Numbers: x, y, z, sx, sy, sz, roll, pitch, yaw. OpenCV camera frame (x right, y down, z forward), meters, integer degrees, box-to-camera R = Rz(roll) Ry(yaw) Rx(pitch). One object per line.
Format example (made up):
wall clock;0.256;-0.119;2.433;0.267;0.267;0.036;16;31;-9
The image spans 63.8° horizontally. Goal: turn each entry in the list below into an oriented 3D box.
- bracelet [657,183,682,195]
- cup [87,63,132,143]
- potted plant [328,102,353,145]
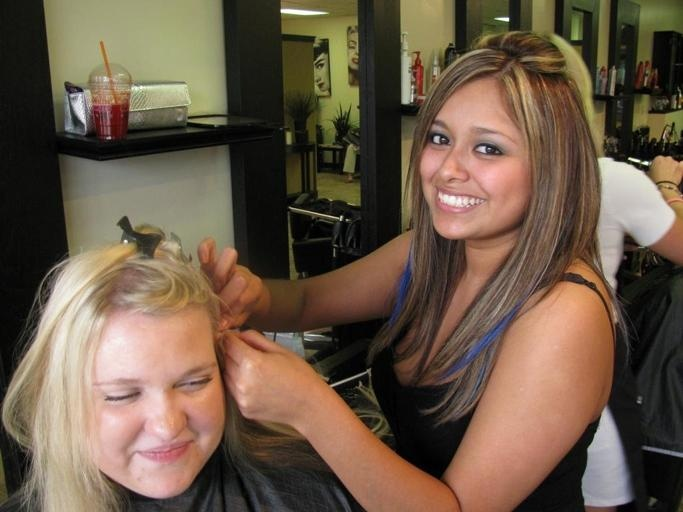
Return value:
bracelet;1.147;-0.232;1.927;0.055;0.027;0.068;0;17;-30
cup;-0.561;-0.374;1.339;0.096;0.178;0.078;-7;12;-25
potted plant;0.000;-0.496;2.097;0.119;0.179;0.112;2;6;17
